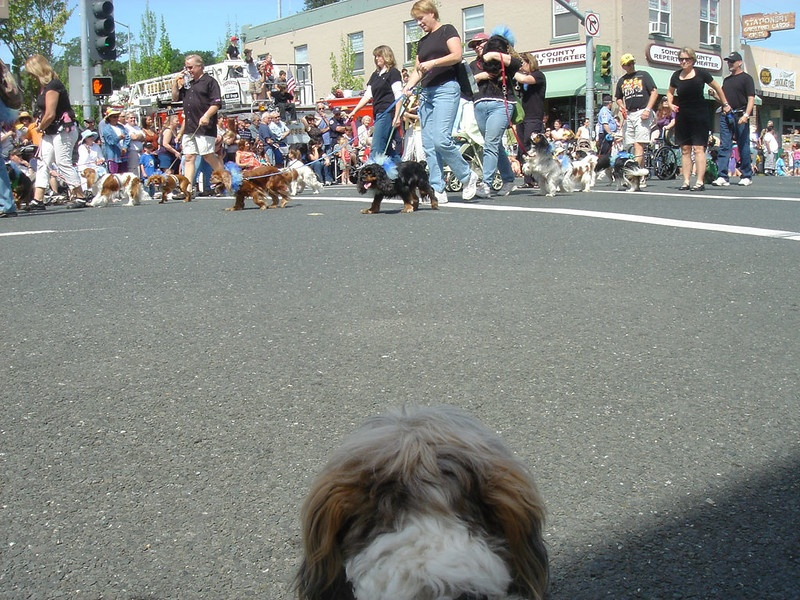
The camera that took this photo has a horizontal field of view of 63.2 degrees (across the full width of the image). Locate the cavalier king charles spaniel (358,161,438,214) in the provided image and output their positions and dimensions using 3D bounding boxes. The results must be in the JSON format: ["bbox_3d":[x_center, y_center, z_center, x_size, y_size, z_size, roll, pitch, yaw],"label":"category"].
[{"bbox_3d":[-0.014,-1.700,9.749,1.264,0.722,0.633,-6,13,-17],"label":"cavalier king charles spaniel"}]

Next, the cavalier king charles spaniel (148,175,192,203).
[{"bbox_3d":[-4.854,-2.390,13.842,1.089,0.578,0.488,0,11,-11],"label":"cavalier king charles spaniel"}]

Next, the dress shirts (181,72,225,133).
[{"bbox_3d":[-4.190,-3.951,13.181,1.080,1.307,0.665,10,19,8],"label":"dress shirts"}]

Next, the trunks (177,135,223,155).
[{"bbox_3d":[-4.141,-3.168,13.323,0.673,0.463,0.389,1,6,3],"label":"trunks"}]

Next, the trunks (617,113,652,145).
[{"bbox_3d":[5.433,-3.972,14.975,0.614,0.759,0.555,4,14,26],"label":"trunks"}]

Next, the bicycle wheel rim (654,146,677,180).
[{"bbox_3d":[7.060,-3.648,17.256,1.090,0.856,0.390,-10,15,-31],"label":"bicycle wheel rim"}]

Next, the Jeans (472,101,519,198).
[{"bbox_3d":[1.628,-2.604,11.215,0.648,1.627,1.343,-1,13,7],"label":"Jeans"}]

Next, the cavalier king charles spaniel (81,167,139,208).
[{"bbox_3d":[-5.889,-2.331,13.439,1.204,0.728,0.413,-1,13,-5],"label":"cavalier king charles spaniel"}]

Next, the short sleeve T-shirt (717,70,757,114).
[{"bbox_3d":[7.107,-4.437,13.735,0.413,0.725,0.755,-18,20,-27],"label":"short sleeve T-shirt"}]

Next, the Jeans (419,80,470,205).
[{"bbox_3d":[0.672,-2.580,10.342,0.755,1.853,0.797,-3,-3,42],"label":"Jeans"}]

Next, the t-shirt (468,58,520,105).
[{"bbox_3d":[1.588,-3.641,10.867,0.993,0.906,0.563,-2,5,-6],"label":"t-shirt"}]

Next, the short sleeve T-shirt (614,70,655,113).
[{"bbox_3d":[5.335,-4.768,14.772,0.957,0.918,0.511,1,25,33],"label":"short sleeve T-shirt"}]

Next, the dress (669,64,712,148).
[{"bbox_3d":[5.364,-3.531,11.930,0.672,1.423,0.816,-2,13,3],"label":"dress"}]
